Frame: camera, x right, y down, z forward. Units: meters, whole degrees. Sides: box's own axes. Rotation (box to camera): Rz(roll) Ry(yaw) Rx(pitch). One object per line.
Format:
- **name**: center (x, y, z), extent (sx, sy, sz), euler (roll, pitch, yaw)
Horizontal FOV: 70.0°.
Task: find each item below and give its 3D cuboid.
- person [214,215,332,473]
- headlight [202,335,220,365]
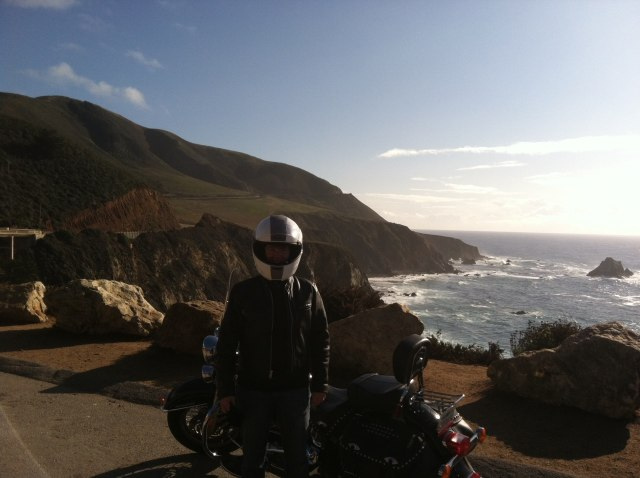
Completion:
- **person**: center (-0.592, 1.292, 5.925), extent (1.327, 3.196, 0.680), euler (4, 3, 11)
- **headlight**: center (-1.556, 1.593, 6.452), extent (0.184, 0.453, 0.681), euler (3, 3, -12)
